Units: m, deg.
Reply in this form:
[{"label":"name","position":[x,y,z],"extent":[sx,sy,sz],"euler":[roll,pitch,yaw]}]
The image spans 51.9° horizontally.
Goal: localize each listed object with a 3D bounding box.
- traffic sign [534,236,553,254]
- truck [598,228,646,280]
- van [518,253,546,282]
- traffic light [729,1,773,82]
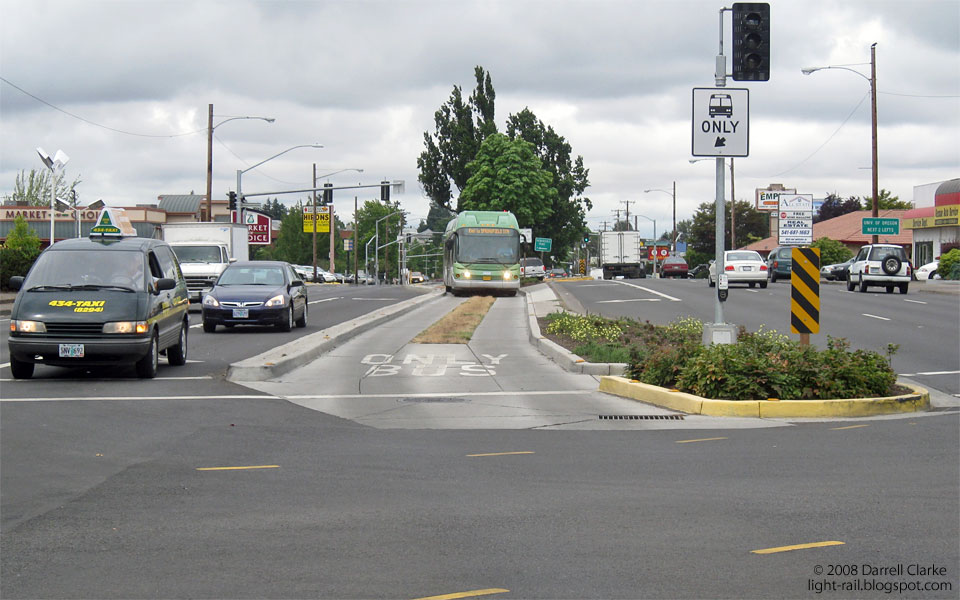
[{"label":"traffic sign","position":[5.814,-5.246,91.783],"extent":[1.557,1.055,0.214],"euler":[-1,-11,-2]},{"label":"truck","position":[11.291,-3.617,79.838],"extent":[2.689,2.844,4.966],"euler":[0,2,4]},{"label":"van","position":[4.604,-2.583,84.628],"extent":[1.755,1.471,3.213],"euler":[1,8,3]},{"label":"traffic light","position":[5.169,-4.930,18.893],"extent":[0.646,1.457,0.377],"euler":[1,5,4]}]
